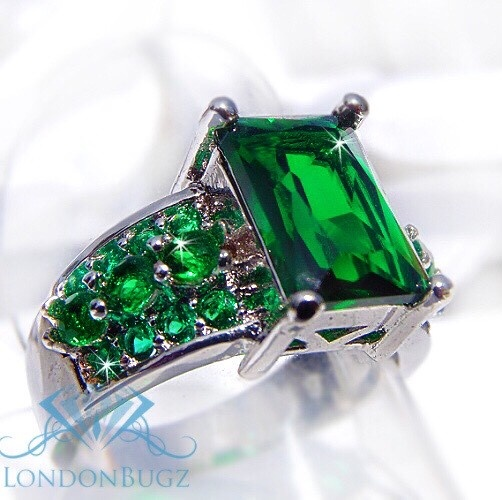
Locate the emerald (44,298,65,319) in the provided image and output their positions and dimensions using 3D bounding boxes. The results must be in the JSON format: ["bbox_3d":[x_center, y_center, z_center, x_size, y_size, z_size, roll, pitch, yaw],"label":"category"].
[{"bbox_3d":[-0.410,0.120,1.382,0.040,0.042,0.012,7,-16,23],"label":"emerald"}]

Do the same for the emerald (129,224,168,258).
[{"bbox_3d":[-0.215,-0.020,1.412,0.064,0.015,0.058,-38,61,7],"label":"emerald"}]

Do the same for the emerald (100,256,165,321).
[{"bbox_3d":[-0.253,0.082,1.398,0.115,0.118,0.068,-18,28,-18],"label":"emerald"}]

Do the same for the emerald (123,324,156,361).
[{"bbox_3d":[-0.230,0.193,1.404,0.051,0.061,0.060,12,33,37],"label":"emerald"}]

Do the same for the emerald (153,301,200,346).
[{"bbox_3d":[-0.148,0.150,1.377,0.084,0.079,0.029,-31,-5,-16],"label":"emerald"}]
